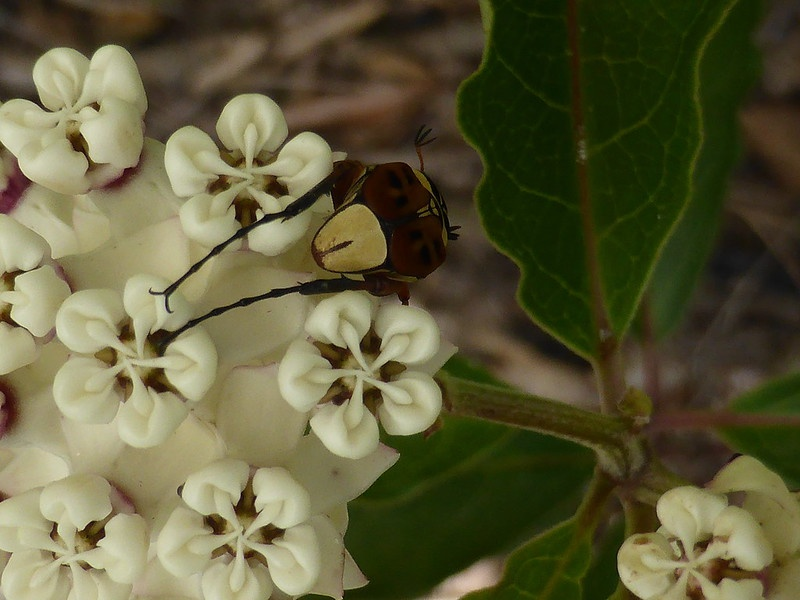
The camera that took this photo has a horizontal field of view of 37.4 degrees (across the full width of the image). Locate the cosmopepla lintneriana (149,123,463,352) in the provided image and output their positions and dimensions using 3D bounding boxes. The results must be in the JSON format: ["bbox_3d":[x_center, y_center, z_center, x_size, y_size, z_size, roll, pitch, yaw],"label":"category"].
[{"bbox_3d":[-0.149,-0.100,2.134,0.471,0.311,0.128,-18,-1,-12],"label":"cosmopepla lintneriana"}]
